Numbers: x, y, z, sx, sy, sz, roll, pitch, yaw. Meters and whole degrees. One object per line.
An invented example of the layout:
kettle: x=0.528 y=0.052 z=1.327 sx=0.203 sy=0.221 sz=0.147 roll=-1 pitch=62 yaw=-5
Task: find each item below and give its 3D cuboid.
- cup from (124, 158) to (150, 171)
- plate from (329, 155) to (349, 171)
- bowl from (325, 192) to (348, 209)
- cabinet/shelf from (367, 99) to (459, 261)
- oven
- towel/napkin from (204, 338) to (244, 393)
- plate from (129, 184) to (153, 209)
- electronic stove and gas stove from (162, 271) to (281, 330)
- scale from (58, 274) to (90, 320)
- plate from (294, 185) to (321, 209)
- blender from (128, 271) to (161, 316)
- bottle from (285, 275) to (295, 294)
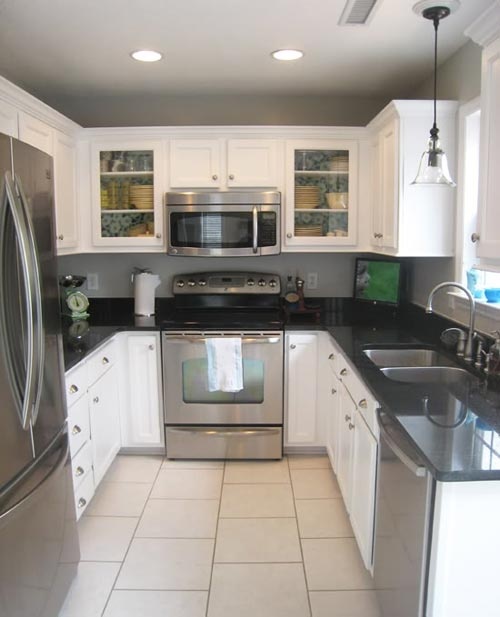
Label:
cup: x=-0.675 y=-0.882 z=3.075 sx=0.134 sy=0.068 sz=0.084 roll=1 pitch=12 yaw=-2
plate: x=0.540 y=-0.898 z=3.042 sx=0.121 sy=0.083 sz=0.088 roll=7 pitch=19 yaw=23
bowl: x=0.536 y=-0.665 z=3.068 sx=0.106 sy=0.075 sz=0.106 roll=-2 pitch=8 yaw=0
cabinet/shelf: x=0.886 y=-0.688 z=2.819 sx=0.297 sy=0.780 sz=0.789 roll=-4 pitch=13 yaw=3
oven: x=-0.152 y=0.505 z=3.224 sx=0.734 sy=0.830 sz=0.568 roll=0 pitch=10 yaw=0
towel/napkin: x=-0.145 y=0.323 z=2.882 sx=0.314 sy=0.422 sz=0.040 roll=-1 pitch=5 yaw=2
plate: x=-0.659 y=-0.682 z=3.090 sx=0.146 sy=0.158 sz=0.151 roll=2 pitch=10 yaw=4
electronic stove and gas stove: x=-0.205 y=-0.060 z=3.180 sx=0.834 sy=0.313 sz=0.626 roll=0 pitch=8 yaw=3
scale: x=-1.153 y=-0.075 z=3.266 sx=0.188 sy=0.259 sz=0.208 roll=-11 pitch=8 yaw=-36
plate: x=0.352 y=-0.679 z=3.068 sx=0.144 sy=0.104 sz=0.144 roll=4 pitch=10 yaw=21
blender: x=-0.673 y=-0.085 z=3.226 sx=0.265 sy=0.395 sz=0.226 roll=-2 pitch=7 yaw=-15
bottle: x=0.277 y=-0.160 z=3.416 sx=0.069 sy=0.120 sz=0.103 roll=0 pitch=8 yaw=2
